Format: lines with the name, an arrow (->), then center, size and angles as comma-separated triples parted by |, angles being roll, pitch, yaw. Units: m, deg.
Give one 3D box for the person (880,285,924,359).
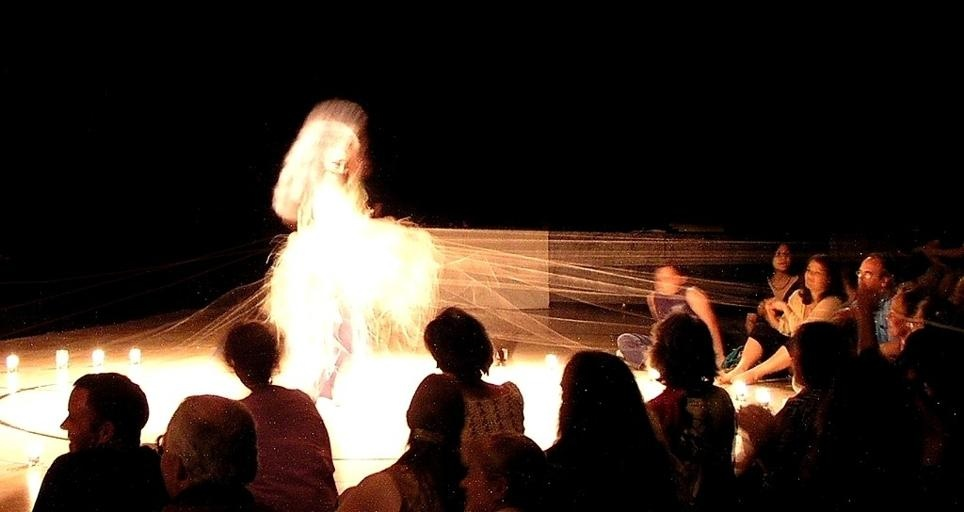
person -> 7.031, 1.145, 13.200 | 0.759, 1.165, 0.593 | -7, -14, 27
